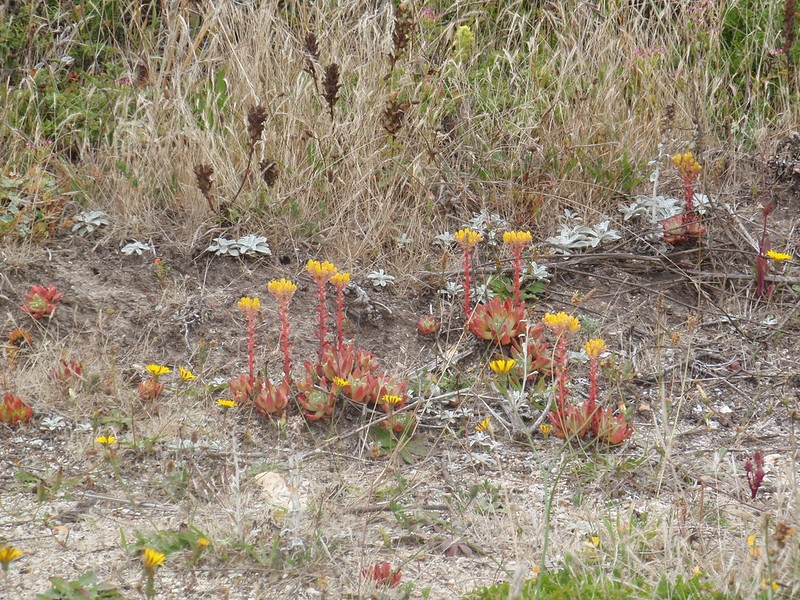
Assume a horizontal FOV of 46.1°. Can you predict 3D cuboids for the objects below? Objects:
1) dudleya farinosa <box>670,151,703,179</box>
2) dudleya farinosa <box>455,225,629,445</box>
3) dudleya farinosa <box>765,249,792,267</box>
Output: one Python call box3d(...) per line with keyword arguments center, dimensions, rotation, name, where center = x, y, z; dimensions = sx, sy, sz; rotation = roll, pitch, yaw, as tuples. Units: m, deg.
box3d(center=(1.808, -0.848, 5.909), dimensions=(0.156, 0.162, 0.216), rotation=(-9, 52, 14), name="dudleya farinosa")
box3d(center=(0.794, 0.103, 5.195), dimensions=(0.542, 0.661, 1.470), rotation=(-6, 36, -27), name="dudleya farinosa")
box3d(center=(2.262, -0.256, 5.583), dimensions=(0.129, 0.129, 0.061), rotation=(17, 86, -31), name="dudleya farinosa")
